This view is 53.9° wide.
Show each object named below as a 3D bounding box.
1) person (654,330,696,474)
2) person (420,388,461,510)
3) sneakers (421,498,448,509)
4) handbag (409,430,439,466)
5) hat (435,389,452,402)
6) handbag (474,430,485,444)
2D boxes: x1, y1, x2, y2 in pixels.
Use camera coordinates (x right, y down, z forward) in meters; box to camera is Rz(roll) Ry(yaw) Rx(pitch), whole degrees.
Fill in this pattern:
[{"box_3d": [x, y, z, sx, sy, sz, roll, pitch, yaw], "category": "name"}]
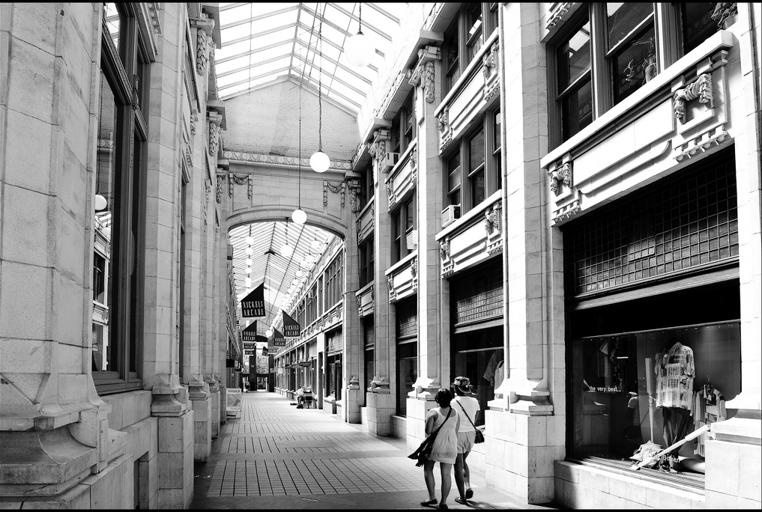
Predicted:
[{"box_3d": [4.432, 2.079, 11.287, 0.187, 1.622, 0.818, 2, -6, -16], "category": "person"}, {"box_3d": [1.012, 3.255, 12.732, 0.611, 1.973, 0.931, 0, -6, 4], "category": "person"}, {"box_3d": [0.907, 4.165, 12.536, 0.441, 0.169, 0.162, -2, -8, 34], "category": "sneakers"}, {"box_3d": [0.776, 3.105, 12.352, 0.362, 0.708, 0.409, 18, -9, 10], "category": "handbag"}, {"box_3d": [1.058, 2.334, 12.497, 0.182, 0.231, 0.244, 2, -1, 4], "category": "hat"}, {"box_3d": [1.766, 3.236, 13.402, 0.131, 0.232, 0.449, -1, -7, 11], "category": "handbag"}]
